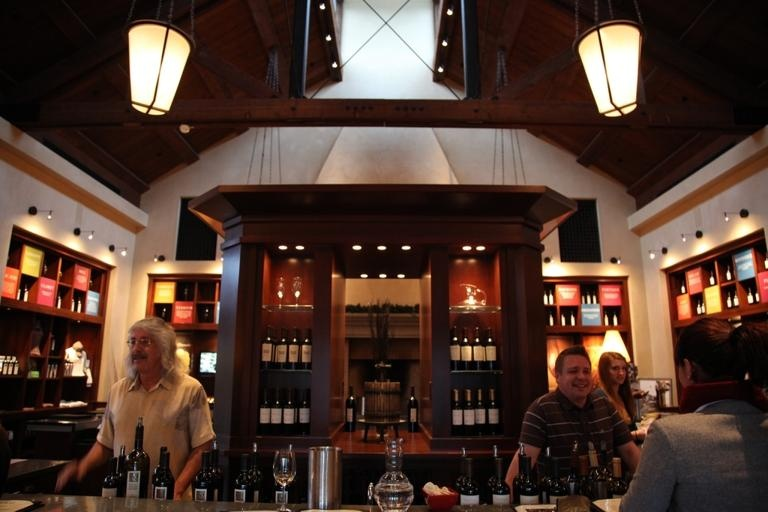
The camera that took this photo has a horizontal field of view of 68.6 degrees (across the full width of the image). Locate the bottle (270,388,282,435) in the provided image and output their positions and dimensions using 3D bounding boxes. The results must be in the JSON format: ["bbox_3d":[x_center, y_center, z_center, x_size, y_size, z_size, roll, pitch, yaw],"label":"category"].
[{"bbox_3d":[-1.094,1.601,5.790,0.103,0.429,0.118,1,-17,-7],"label":"bottle"}]

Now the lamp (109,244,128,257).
[{"bbox_3d":[-4.762,-0.106,10.161,0.426,0.229,0.153,-8,-9,26],"label":"lamp"}]

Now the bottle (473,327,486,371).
[{"bbox_3d":[0.995,0.974,6.003,0.128,0.463,0.166,-4,-18,9],"label":"bottle"}]

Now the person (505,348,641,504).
[{"bbox_3d":[1.522,1.420,4.659,1.125,1.306,0.716,2,-23,3],"label":"person"}]

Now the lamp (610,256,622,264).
[{"bbox_3d":[4.367,0.083,10.736,0.203,0.133,0.062,5,-18,-20],"label":"lamp"}]

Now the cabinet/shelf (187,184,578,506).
[{"bbox_3d":[-0.033,0.879,5.812,3.804,3.414,1.691,0,-11,-1],"label":"cabinet/shelf"}]

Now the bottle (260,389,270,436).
[{"bbox_3d":[-1.209,1.613,5.819,0.097,0.437,0.152,14,-23,-39],"label":"bottle"}]

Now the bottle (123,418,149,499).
[{"bbox_3d":[-1.769,1.470,4.100,0.169,0.568,0.428,6,-19,-21],"label":"bottle"}]

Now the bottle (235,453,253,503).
[{"bbox_3d":[-0.977,1.573,3.991,0.122,0.325,0.260,3,-18,-12],"label":"bottle"}]

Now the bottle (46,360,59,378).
[{"bbox_3d":[-5.227,1.803,8.979,0.078,0.247,0.172,1,-5,39],"label":"bottle"}]

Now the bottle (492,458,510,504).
[{"bbox_3d":[0.797,1.574,3.955,0.141,0.326,0.224,-4,-17,9],"label":"bottle"}]

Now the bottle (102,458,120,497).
[{"bbox_3d":[-1.936,1.590,4.058,0.105,0.260,0.226,7,-19,-23],"label":"bottle"}]

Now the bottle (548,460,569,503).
[{"bbox_3d":[1.218,1.568,3.941,0.155,0.297,0.176,2,-17,-10],"label":"bottle"}]

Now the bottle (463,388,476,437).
[{"bbox_3d":[0.865,1.603,5.772,0.127,0.430,0.104,-1,-17,-1],"label":"bottle"}]

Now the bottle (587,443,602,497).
[{"bbox_3d":[1.476,1.521,4.020,0.112,0.372,0.323,-6,-18,17],"label":"bottle"}]

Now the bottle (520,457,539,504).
[{"bbox_3d":[1.001,1.570,3.970,0.142,0.325,0.302,-4,-17,11],"label":"bottle"}]

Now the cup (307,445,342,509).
[{"bbox_3d":[-0.386,1.444,3.665,0.201,0.385,0.230,2,-17,-10],"label":"cup"}]

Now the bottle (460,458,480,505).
[{"bbox_3d":[0.588,1.584,3.970,0.124,0.319,0.289,-1,-17,-1],"label":"bottle"}]

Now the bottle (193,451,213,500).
[{"bbox_3d":[-1.265,1.560,3.988,0.128,0.327,0.170,1,-17,-5],"label":"bottle"}]

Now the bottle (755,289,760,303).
[{"bbox_3d":[5.354,0.585,8.154,0.060,0.181,0.250,-11,-20,31],"label":"bottle"}]

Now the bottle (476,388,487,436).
[{"bbox_3d":[0.987,1.607,5.804,0.122,0.441,0.055,7,-19,-22],"label":"bottle"}]

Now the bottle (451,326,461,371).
[{"bbox_3d":[0.748,0.968,5.978,0.110,0.479,0.191,-3,-17,7],"label":"bottle"}]

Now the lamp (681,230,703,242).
[{"bbox_3d":[4.991,-0.333,9.207,0.299,0.156,0.173,0,-3,-19],"label":"lamp"}]

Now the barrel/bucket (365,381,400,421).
[{"bbox_3d":[-0.016,1.499,5.866,0.377,0.376,0.379,0,-12,0],"label":"barrel/bucket"}]

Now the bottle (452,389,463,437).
[{"bbox_3d":[0.740,1.601,5.772,0.120,0.447,0.116,-1,-17,0],"label":"bottle"}]

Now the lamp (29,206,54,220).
[{"bbox_3d":[-4.943,-0.620,8.192,0.210,0.255,0.146,-8,-6,8],"label":"lamp"}]

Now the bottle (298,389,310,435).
[{"bbox_3d":[-0.820,1.620,5.857,0.111,0.447,0.105,-1,-17,0],"label":"bottle"}]

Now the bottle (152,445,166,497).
[{"bbox_3d":[-1.563,1.540,3.999,0.096,0.352,0.188,6,-19,-22],"label":"bottle"}]

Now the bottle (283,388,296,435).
[{"bbox_3d":[-0.966,1.609,5.802,0.111,0.437,0.131,-2,-17,4],"label":"bottle"}]

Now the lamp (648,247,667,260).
[{"bbox_3d":[4.918,-0.055,10.230,0.252,0.149,0.149,-7,0,-21],"label":"lamp"}]

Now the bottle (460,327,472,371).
[{"bbox_3d":[0.864,0.985,5.993,0.128,0.439,0.183,-3,-17,8],"label":"bottle"}]
